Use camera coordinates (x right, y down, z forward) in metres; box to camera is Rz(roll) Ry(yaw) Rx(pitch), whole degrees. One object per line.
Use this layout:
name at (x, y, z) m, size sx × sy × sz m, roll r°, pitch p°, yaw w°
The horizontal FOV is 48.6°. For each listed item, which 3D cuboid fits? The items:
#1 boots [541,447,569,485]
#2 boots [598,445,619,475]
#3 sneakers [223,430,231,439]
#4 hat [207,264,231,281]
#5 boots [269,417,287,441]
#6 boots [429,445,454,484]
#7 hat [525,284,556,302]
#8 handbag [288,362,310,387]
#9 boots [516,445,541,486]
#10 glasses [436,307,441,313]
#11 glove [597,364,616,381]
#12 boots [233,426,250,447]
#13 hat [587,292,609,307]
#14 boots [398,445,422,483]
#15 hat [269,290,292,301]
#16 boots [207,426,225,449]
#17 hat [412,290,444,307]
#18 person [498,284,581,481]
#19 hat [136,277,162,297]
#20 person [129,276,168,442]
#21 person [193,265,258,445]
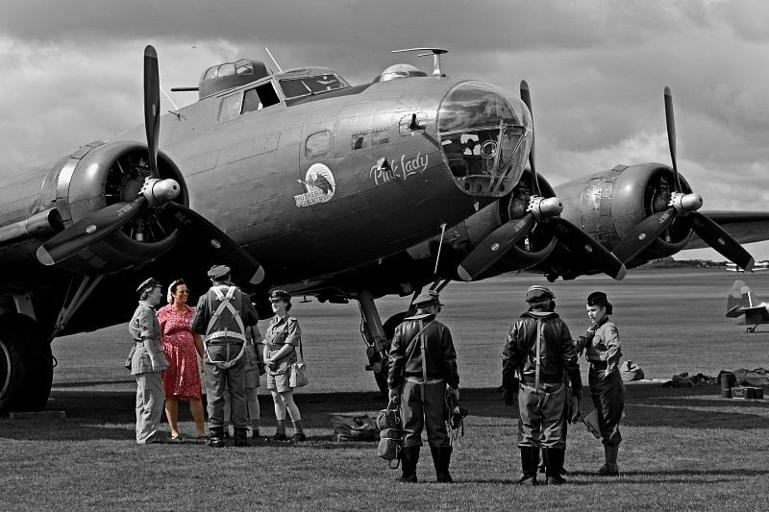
boots at (2.448, 2.955, 12.242) m, size 0.335 × 0.532 × 0.557 m, roll -2°, pitch -4°, yaw 10°
boots at (3.372, 3.020, 12.785) m, size 0.296 × 0.403 × 0.491 m, roll -2°, pitch -4°, yaw 13°
sneakers at (-2.752, 3.097, 14.862) m, size 0.124 × 0.198 × 0.124 m, roll -8°, pitch -11°, yaw 37°
hat at (-2.799, 0.274, 14.378) m, size 0.346 × 0.147 × 0.369 m, roll -1°, pitch 2°, yaw -15°
boots at (-1.896, 2.987, 14.789) m, size 0.451 × 0.375 × 0.207 m, roll 2°, pitch -5°, yaw -3°
boots at (0.851, 2.973, 12.467) m, size 0.288 × 0.510 × 0.557 m, roll -2°, pitch -3°, yaw 3°
hat at (2.277, 0.539, 12.430) m, size 0.377 × 0.187 × 0.272 m, roll 2°, pitch 1°, yaw 29°
handbag at (-1.492, 2.073, 15.023) m, size 0.295 × 0.458 × 0.839 m, roll -1°, pitch -3°, yaw 0°
boots at (2.064, 2.944, 12.239) m, size 0.292 × 0.541 × 0.482 m, roll -2°, pitch -4°, yaw 8°
glasses at (0.821, 0.805, 12.838) m, size 0.093 × 0.041 × 0.122 m, roll -6°, pitch 2°, yaw 2°
glove at (3.381, 1.761, 12.898) m, size 0.227 × 0.179 × 0.059 m, roll -1°, pitch -4°, yaw -14°
boots at (-2.387, 2.996, 14.188) m, size 0.351 × 0.412 × 0.296 m, roll 2°, pitch -18°, yaw -10°
hat at (3.264, 0.689, 13.215) m, size 0.320 × 0.246 × 0.240 m, roll 17°, pitch 13°, yaw 36°
boots at (0.369, 2.970, 12.329) m, size 0.284 × 0.510 × 0.264 m, roll -1°, pitch -4°, yaw 0°
hat at (-1.797, 0.696, 15.003) m, size 0.350 × 0.121 × 0.261 m, roll 5°, pitch -7°, yaw -42°
boots at (-2.800, 2.932, 14.018) m, size 0.376 × 0.331 × 0.182 m, roll -4°, pitch -5°, yaw 41°
hat at (0.652, 0.631, 12.643) m, size 0.306 × 0.102 × 0.315 m, roll -8°, pitch 7°, yaw -21°
person at (2.272, 1.824, 12.293) m, size 1.086 × 2.767 × 0.531 m, roll -2°, pitch -4°, yaw 8°
hat at (-4.142, 0.535, 14.971) m, size 0.412 × 0.148 × 0.351 m, roll -22°, pitch 2°, yaw 11°
person at (-3.967, 1.725, 14.294) m, size 0.617 × 2.717 × 0.827 m, roll 0°, pitch -4°, yaw -16°
person at (-2.685, 1.632, 14.212) m, size 1.021 × 2.964 × 0.538 m, roll -1°, pitch -4°, yaw -11°
